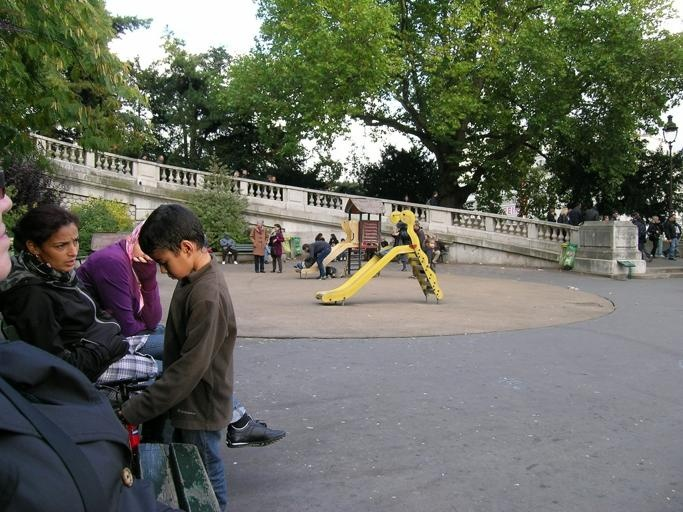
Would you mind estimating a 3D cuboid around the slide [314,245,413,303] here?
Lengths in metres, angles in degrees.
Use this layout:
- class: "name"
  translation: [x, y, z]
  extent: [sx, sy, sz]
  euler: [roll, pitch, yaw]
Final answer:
- class: "slide"
  translation: [0.605, 0.428, 14.894]
  extent: [2.480, 1.026, 0.506]
  euler: [-7, -9, -22]

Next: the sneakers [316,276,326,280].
- class: "sneakers"
  translation: [-0.667, 0.718, 21.198]
  extent: [0.259, 0.196, 0.089]
  euler: [-4, 15, 14]

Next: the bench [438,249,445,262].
- class: "bench"
  translation: [4.296, 0.011, 28.743]
  extent: [0.421, 0.445, 0.389]
  euler: [0, -1, 2]

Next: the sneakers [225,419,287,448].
- class: "sneakers"
  translation: [-0.649, 1.330, 5.162]
  extent: [0.487, 0.252, 0.195]
  euler: [0, 2, -15]

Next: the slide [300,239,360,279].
- class: "slide"
  translation: [-0.362, -0.113, 23.843]
  extent: [1.767, 1.063, 0.927]
  euler: [12, -4, -19]
